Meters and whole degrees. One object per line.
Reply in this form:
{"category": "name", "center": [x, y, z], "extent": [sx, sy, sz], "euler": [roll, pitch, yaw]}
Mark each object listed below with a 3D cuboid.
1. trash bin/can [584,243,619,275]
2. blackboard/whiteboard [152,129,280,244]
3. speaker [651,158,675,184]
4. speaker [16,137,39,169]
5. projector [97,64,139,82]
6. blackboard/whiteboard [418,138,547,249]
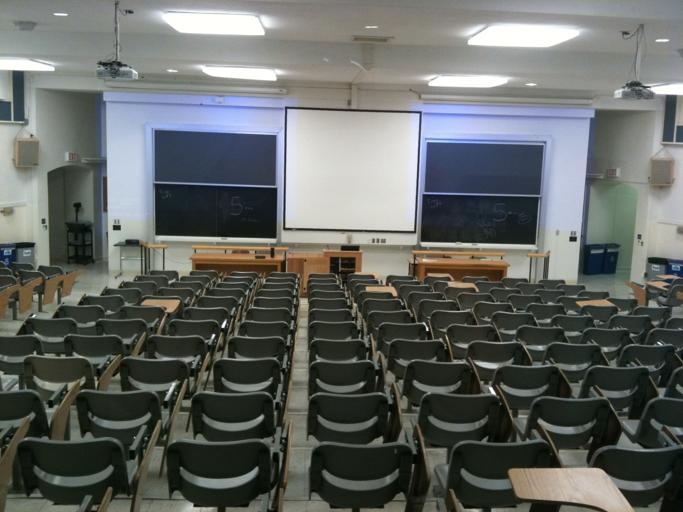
{"category": "trash bin/can", "center": [8.131, 0.085, 16.979], "extent": [0.877, 0.714, 0.336], "euler": [1, 6, -1]}
{"category": "blackboard/whiteboard", "center": [-3.281, -1.953, 13.687], "extent": [2.707, 2.479, 0.189], "euler": [1, 11, -4]}
{"category": "speaker", "center": [8.631, -2.344, 14.447], "extent": [0.656, 0.878, 0.482], "euler": [0, 0, 22]}
{"category": "speaker", "center": [-8.033, -2.716, 13.716], "extent": [0.237, 0.753, 0.744], "euler": [11, 9, 34]}
{"category": "projector", "center": [-3.572, -3.050, 8.546], "extent": [0.561, 0.301, 0.472], "euler": [-3, 8, -33]}
{"category": "blackboard/whiteboard", "center": [3.555, -1.811, 14.029], "extent": [2.628, 2.377, 0.206], "euler": [1, 8, 0]}
